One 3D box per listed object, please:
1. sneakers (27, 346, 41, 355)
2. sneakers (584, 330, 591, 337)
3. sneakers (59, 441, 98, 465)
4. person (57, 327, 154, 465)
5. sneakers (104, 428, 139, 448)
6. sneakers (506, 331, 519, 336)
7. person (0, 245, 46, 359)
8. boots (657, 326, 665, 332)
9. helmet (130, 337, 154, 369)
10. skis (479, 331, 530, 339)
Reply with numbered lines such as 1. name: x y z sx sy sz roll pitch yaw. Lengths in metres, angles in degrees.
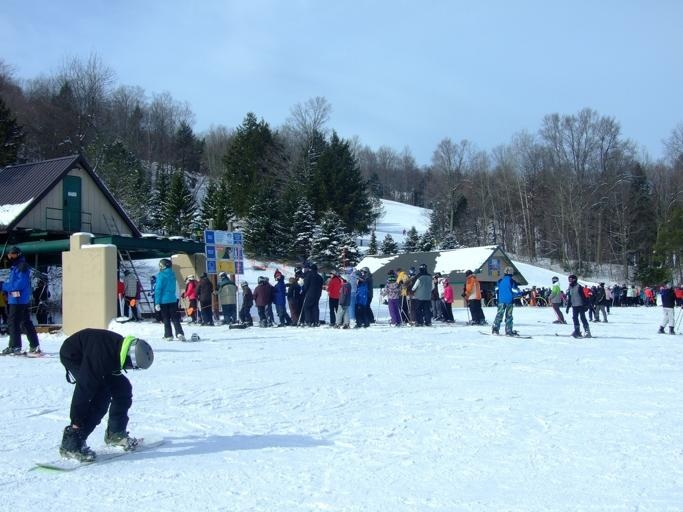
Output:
1. sneakers: -6.365 1.974 15.828 0.136 0.223 0.396 4 -9 -44
2. sneakers: 6.872 2.158 21.237 0.181 0.197 0.607 2 4 18
3. sneakers: -3.223 2.409 9.319 0.370 0.245 0.213 2 -5 -1
4. person: -2.981 1.661 9.547 1.102 1.602 1.043 4 -2 24
5. sneakers: -2.824 2.320 9.732 0.362 0.217 0.201 1 1 -2
6. sneakers: 4.607 2.091 20.508 0.339 0.200 0.133 0 0 5
7. person: -6.581 0.942 15.661 0.689 2.257 0.898 -1 3 -27
8. boots: 9.824 2.258 23.363 0.177 0.237 0.749 2 4 22
9. helmet: -2.462 1.202 9.338 0.234 0.376 0.256 -10 -11 36
10. skis: 4.394 2.146 20.680 1.081 0.152 0.063 3 -34 36
